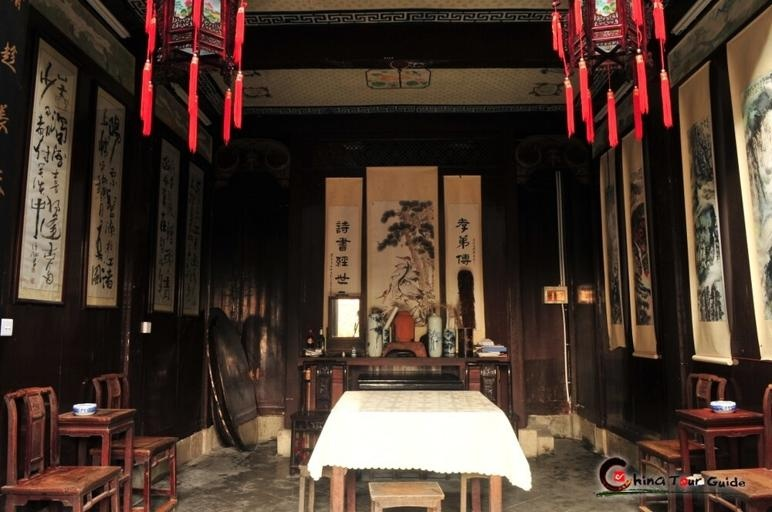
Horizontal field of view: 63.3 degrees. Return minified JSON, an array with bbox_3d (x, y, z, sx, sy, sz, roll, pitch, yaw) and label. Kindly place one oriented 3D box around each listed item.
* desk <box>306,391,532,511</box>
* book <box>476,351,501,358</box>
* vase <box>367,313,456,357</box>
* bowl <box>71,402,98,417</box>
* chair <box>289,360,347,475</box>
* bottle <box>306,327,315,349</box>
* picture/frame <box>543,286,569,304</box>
[{"bbox_3d":[0.274,1.433,5.138,1.222,0.582,1.221,2,-5,5],"label":"desk"},{"bbox_3d":[1.191,1.148,7.281,0.290,0.059,0.180,-2,-8,18],"label":"book"},{"bbox_3d":[0.284,0.949,7.527,0.827,0.558,0.450,2,-12,3],"label":"vase"},{"bbox_3d":[-2.605,1.321,5.409,0.145,0.055,0.130,2,-4,-16],"label":"bowl"},{"bbox_3d":[-0.717,1.785,6.991,0.635,1.085,0.624,1,-4,-5],"label":"chair"},{"bbox_3d":[-0.930,1.022,7.719,0.103,0.230,0.254,1,-8,-8],"label":"bottle"},{"bbox_3d":[2.253,0.519,8.309,0.387,0.281,0.212,0,-7,0],"label":"picture/frame"}]
